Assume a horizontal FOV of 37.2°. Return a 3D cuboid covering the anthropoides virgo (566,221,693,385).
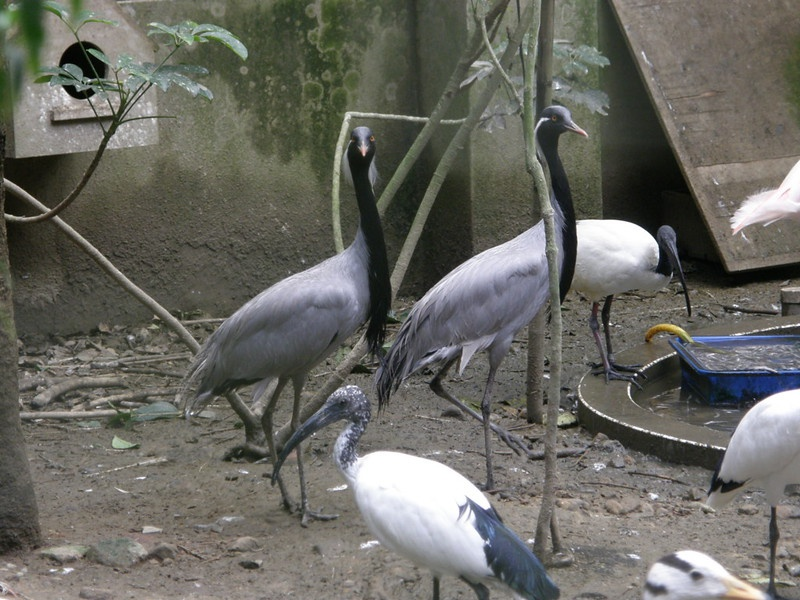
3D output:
[{"bbox_3d":[1.827,-0.082,10.442,0.808,1.283,1.650,2,5,-40],"label":"anthropoides virgo"}]
